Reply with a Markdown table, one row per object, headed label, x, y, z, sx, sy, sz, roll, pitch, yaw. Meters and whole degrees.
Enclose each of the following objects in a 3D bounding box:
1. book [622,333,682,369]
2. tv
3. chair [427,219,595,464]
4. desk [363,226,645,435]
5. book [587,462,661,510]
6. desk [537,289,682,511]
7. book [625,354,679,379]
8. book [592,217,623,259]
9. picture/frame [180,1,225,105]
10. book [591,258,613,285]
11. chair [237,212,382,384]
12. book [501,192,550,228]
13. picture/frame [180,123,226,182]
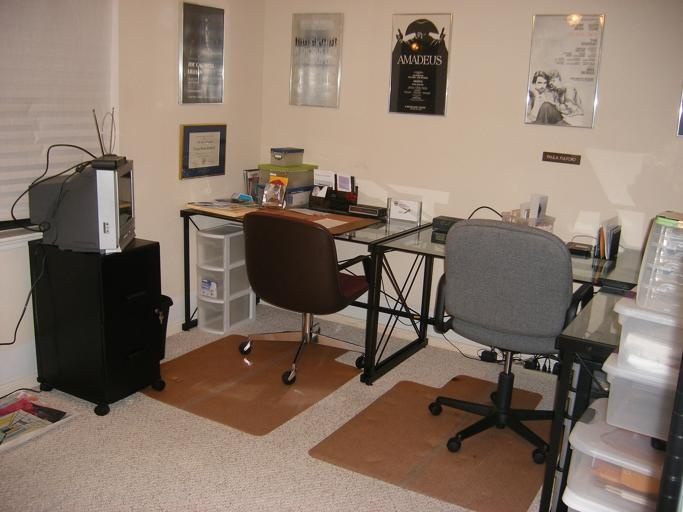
| label | x | y | z | sx | sy | sz | roll | pitch | yaw |
| --- | --- | --- | --- | --- | --- | --- | --- | --- | --- |
| book | 0.935 | 0.288 | 1.714 | 0.086 | 0.049 | 0.128 | 7 | 7 | 42 |
| tv | -1.401 | -0.276 | 3.068 | 0.494 | 0.457 | 0.511 | 3 | 14 | -4 |
| chair | 0.883 | 0.371 | 2.989 | 0.758 | 1.241 | 0.794 | 5 | 15 | 11 |
| desk | 0.703 | 0.463 | 3.619 | 1.608 | 1.080 | 0.986 | 16 | 28 | 34 |
| book | 0.901 | 0.720 | 1.796 | 0.064 | 0.089 | 0.215 | -43 | 36 | -24 |
| desk | 0.922 | 0.491 | 1.909 | 0.326 | 0.686 | 0.805 | 13 | 27 | 31 |
| book | 0.942 | 0.333 | 1.691 | 0.138 | 0.058 | 0.040 | 10 | 15 | 29 |
| book | 1.550 | -0.101 | 3.229 | 0.077 | 0.200 | 0.197 | 12 | 26 | 40 |
| picture/frame | -0.963 | -1.382 | 3.826 | 0.029 | 0.648 | 0.363 | 11 | 16 | 35 |
| book | 1.390 | 0.075 | 2.969 | 0.126 | 0.198 | 0.045 | 13 | 49 | 27 |
| chair | -0.226 | 0.197 | 3.549 | 0.822 | 1.038 | 0.744 | 4 | 18 | 8 |
| book | 1.103 | -0.248 | 3.403 | 0.222 | 0.305 | 0.305 | -3 | 7 | -22 |
| picture/frame | -1.001 | -0.745 | 3.940 | 0.038 | 0.344 | 0.383 | 16 | 26 | 32 |
